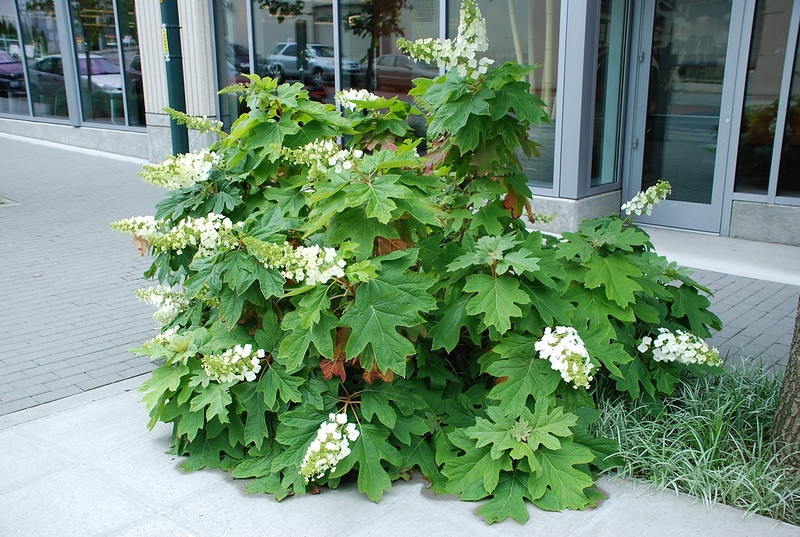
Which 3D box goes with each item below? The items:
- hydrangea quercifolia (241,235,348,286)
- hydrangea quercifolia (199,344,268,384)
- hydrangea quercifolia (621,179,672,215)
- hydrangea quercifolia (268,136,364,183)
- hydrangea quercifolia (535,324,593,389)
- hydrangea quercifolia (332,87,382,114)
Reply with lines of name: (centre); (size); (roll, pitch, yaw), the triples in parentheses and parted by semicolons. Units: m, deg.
hydrangea quercifolia: (-0.619, -0.065, 2.591); (0.628, 0.250, 0.271); (14, 26, 17)
hydrangea quercifolia: (-1.002, 0.597, 2.828); (0.250, 0.205, 0.361); (-22, 28, -33)
hydrangea quercifolia: (1.997, -0.572, 3.839); (0.279, 0.347, 0.658); (6, 20, 22)
hydrangea quercifolia: (-0.527, -0.597, 2.977); (0.547, 0.254, 0.363); (-3, 45, 9)
hydrangea quercifolia: (0.972, 0.566, 2.764); (0.311, 0.437, 0.329); (8, 21, 29)
hydrangea quercifolia: (-0.343, -1.393, 3.825); (0.357, 0.168, 0.365); (9, 17, 20)
